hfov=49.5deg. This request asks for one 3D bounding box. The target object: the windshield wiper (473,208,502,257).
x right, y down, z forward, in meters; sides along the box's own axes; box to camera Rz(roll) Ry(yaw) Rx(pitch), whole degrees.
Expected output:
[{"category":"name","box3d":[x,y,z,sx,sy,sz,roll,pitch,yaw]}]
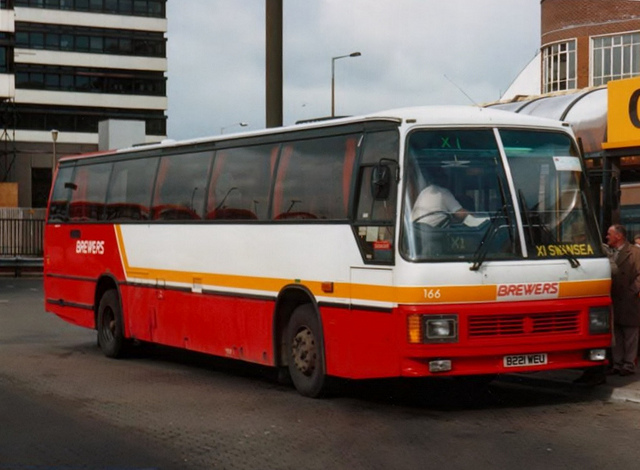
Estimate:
[{"category":"windshield wiper","box3d":[2.002,-0.011,8.365,0.024,0.683,0.029,29,-23,-6]}]

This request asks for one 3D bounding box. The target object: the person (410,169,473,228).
[{"category":"person","box3d":[1.437,-0.415,8.352,0.302,0.847,0.534,5,3,-43]}]

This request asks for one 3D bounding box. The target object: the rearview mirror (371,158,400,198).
[{"category":"rearview mirror","box3d":[0.831,-0.700,8.551,0.344,0.572,0.252,-3,-12,4]}]

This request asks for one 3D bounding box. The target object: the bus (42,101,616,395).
[{"category":"bus","box3d":[-1.464,-0.046,12.773,3.392,4.427,12.747,-17,8,-41]}]
